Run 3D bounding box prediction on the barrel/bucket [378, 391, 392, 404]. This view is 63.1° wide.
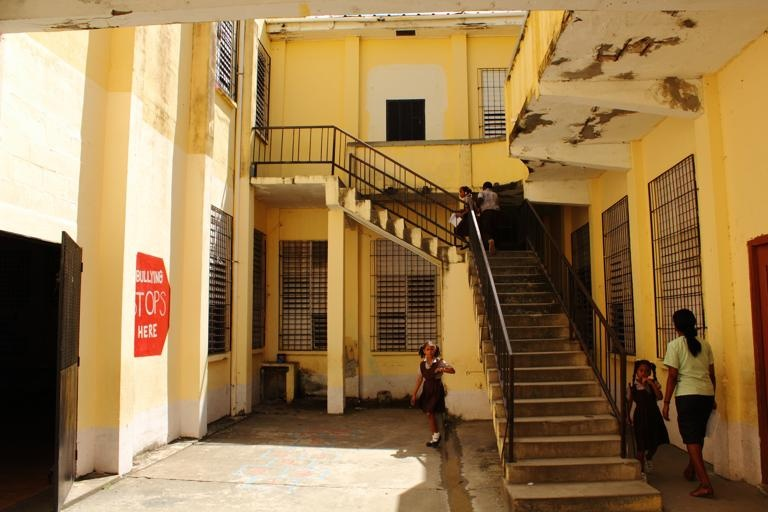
[{"bbox_3d":[0.022,3.208,14.162,0.234,0.224,0.233,0,-18,0],"label":"barrel/bucket"}]

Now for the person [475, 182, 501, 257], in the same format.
[{"bbox_3d":[2.209,-0.763,13.136,0.460,1.625,1.489,0,-8,11],"label":"person"}]

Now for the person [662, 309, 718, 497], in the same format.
[{"bbox_3d":[3.956,1.875,8.021,0.698,2.331,0.195,2,-8,1],"label":"person"}]

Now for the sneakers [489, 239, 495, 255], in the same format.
[{"bbox_3d":[2.163,-0.174,12.434,0.125,0.291,0.258,1,-8,5],"label":"sneakers"}]
